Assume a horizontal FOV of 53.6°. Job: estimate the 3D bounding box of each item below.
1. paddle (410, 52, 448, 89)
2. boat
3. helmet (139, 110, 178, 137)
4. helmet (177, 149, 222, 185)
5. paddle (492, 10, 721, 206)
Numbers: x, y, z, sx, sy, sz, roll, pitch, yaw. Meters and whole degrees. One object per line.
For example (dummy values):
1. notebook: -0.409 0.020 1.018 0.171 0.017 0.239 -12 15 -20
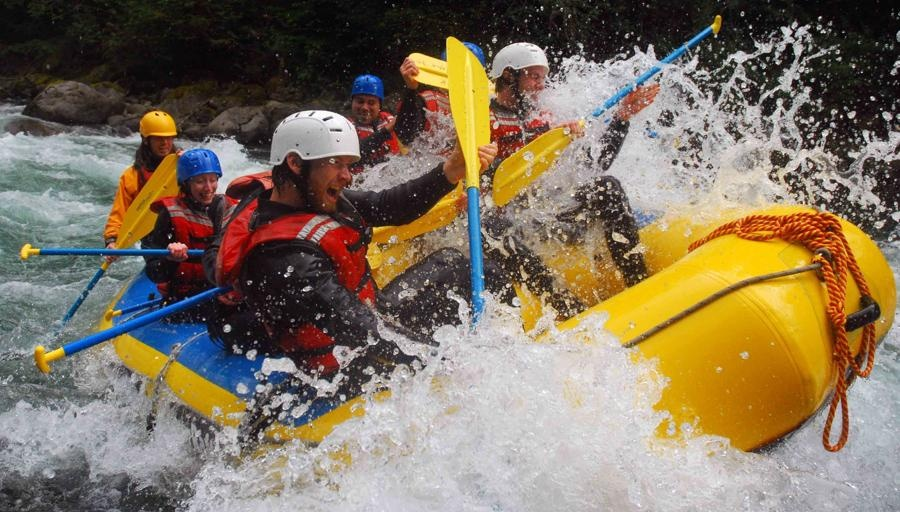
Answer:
1. paddle: -0.236 -2.432 11.679 0.633 0.077 0.391 18 68 -20
2. boat: 1.087 0.791 10.278 6.640 1.635 3.834 -13 12 27
3. helmet: -4.072 -1.812 12.239 0.335 0.239 0.460 -8 22 -45
4. helmet: -3.136 -1.146 11.222 0.382 0.538 0.400 1 58 -41
5. paddle: 2.005 -1.929 11.166 3.891 0.687 0.164 -38 47 -14
